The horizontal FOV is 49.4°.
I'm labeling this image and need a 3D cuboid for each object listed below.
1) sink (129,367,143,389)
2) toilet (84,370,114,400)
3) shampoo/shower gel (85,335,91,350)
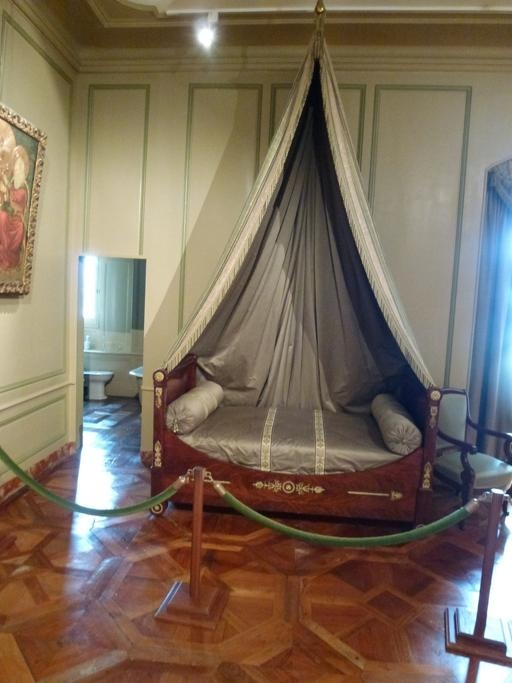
[{"bbox_3d":[-1.224,0.377,5.663,0.209,0.099,0.291,0,9,-15],"label":"sink"},{"bbox_3d":[-1.687,0.473,5.991,0.306,0.241,0.259,-1,5,-4],"label":"toilet"},{"bbox_3d":[-1.915,0.016,6.320,0.064,0.154,0.102,1,7,-10],"label":"shampoo/shower gel"}]
